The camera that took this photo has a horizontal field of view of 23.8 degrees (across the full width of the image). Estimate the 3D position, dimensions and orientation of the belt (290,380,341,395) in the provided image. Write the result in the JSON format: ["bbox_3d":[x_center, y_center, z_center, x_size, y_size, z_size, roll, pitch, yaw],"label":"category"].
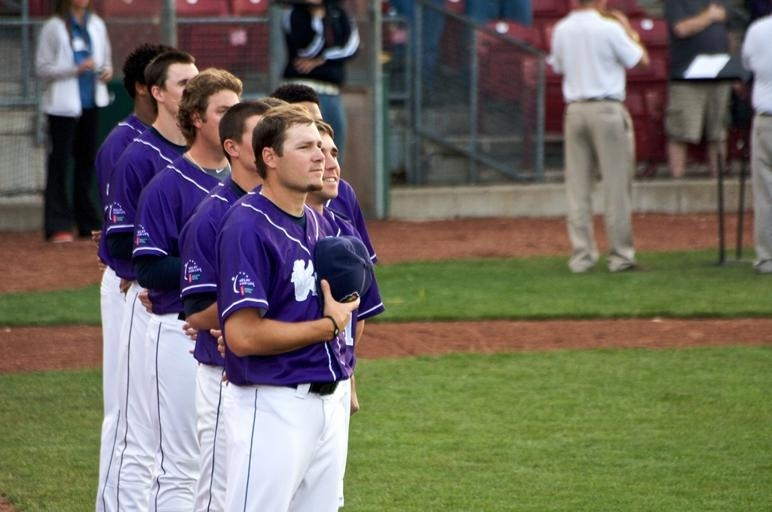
[{"bbox_3d":[-0.327,0.679,9.389,0.140,0.067,0.102,12,-5,19],"label":"belt"}]

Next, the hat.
[{"bbox_3d":[-0.215,0.071,9.501,0.334,0.336,0.174,-3,3,-13],"label":"hat"}]
